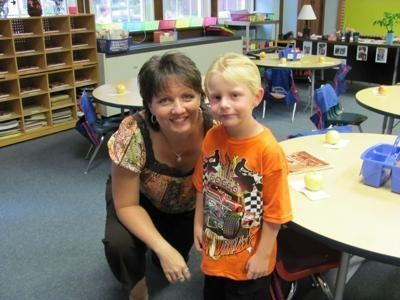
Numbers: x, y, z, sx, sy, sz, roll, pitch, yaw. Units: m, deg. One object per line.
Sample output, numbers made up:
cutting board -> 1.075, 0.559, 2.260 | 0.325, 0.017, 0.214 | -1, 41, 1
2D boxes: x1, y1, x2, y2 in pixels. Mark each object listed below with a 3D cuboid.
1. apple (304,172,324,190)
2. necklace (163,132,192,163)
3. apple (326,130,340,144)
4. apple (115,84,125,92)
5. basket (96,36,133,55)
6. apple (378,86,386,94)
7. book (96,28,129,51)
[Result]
apple -> 0.561, 0.161, 1.535 | 0.080, 0.089, 0.084 | -19, 22, -35
necklace -> -0.139, -0.011, 1.623 | 0.088, 0.152, 0.038 | -27, 13, -13
apple -> 0.869, -0.079, 2.035 | 0.087, 0.087, 0.088 | 18, 0, 37
apple -> -0.950, -0.729, 3.730 | 0.086, 0.107, 0.089 | 11, 26, 27
basket -> -1.391, -1.689, 5.182 | 0.312, 0.242, 0.464 | 9, 15, 41
apple -> 1.930, -0.635, 3.310 | 0.081, 0.092, 0.084 | 1, 4, 21
book -> -1.467, -1.793, 5.147 | 0.422, 0.343, 0.451 | 13, 21, 37
